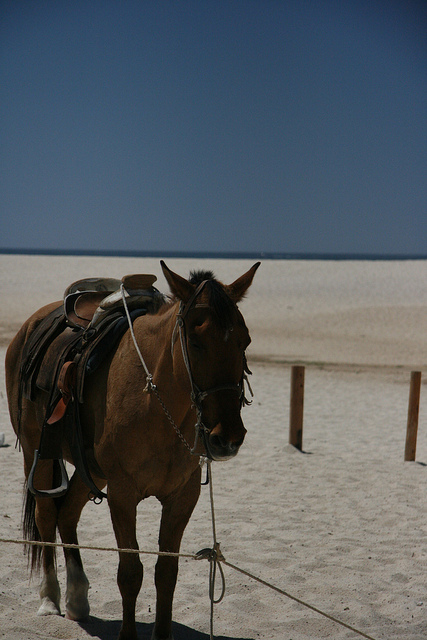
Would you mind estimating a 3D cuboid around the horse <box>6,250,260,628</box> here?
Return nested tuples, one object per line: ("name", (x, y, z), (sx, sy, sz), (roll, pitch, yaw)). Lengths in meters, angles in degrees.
("horse", (-0.554, 0.766, 7.603), (1.081, 2.352, 2.127), (1, 5, -17))
